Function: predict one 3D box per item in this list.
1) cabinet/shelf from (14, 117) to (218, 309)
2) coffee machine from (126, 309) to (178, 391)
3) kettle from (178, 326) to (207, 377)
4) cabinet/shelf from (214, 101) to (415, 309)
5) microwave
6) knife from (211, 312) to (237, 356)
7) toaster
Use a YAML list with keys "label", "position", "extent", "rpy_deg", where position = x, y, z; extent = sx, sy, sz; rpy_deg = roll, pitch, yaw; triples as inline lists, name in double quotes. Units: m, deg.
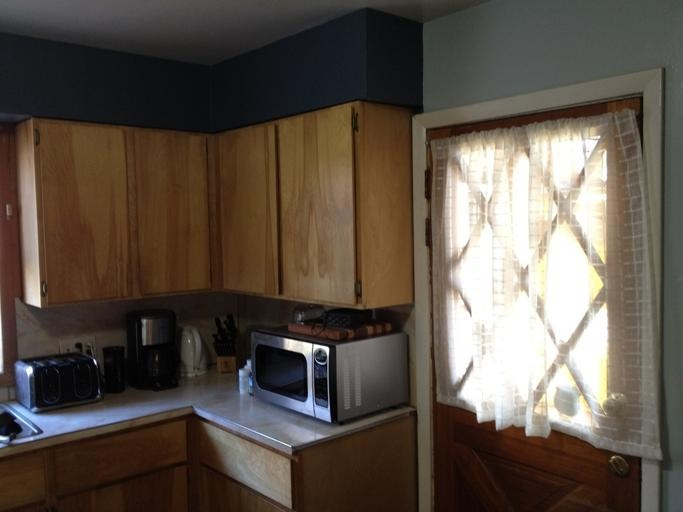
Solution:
- label: "cabinet/shelf"
  position: [-1.248, -0.247, 3.161]
  extent: [0.908, 0.953, 0.331]
  rpy_deg: [-5, 6, -29]
- label: "coffee machine"
  position: [-1.089, 0.525, 3.380]
  extent: [0.291, 0.430, 0.217]
  rpy_deg: [-2, 3, -15]
- label: "kettle"
  position: [-0.918, 0.572, 3.625]
  extent: [0.160, 0.290, 0.165]
  rpy_deg: [-2, 3, -9]
- label: "cabinet/shelf"
  position: [-0.228, -0.255, 3.202]
  extent: [1.023, 0.970, 0.421]
  rpy_deg: [0, 2, 29]
- label: "microwave"
  position: [-0.004, 0.448, 2.948]
  extent: [0.420, 0.338, 0.589]
  rpy_deg: [1, -2, -39]
- label: "knife"
  position: [-0.751, 0.486, 3.794]
  extent: [0.158, 0.241, 0.339]
  rpy_deg: [-2, 4, -13]
- label: "toaster"
  position: [-1.484, 0.590, 3.070]
  extent: [0.258, 0.231, 0.331]
  rpy_deg: [-2, -2, 42]
